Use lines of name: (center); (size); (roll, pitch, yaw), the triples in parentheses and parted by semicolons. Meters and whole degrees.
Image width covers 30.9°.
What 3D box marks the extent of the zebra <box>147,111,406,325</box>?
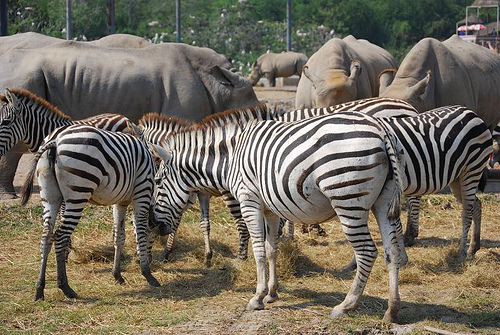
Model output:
zebra: (0.591, 1.295, 14.558); (4.922, 4.172, 3.074); (2, 9, 15)

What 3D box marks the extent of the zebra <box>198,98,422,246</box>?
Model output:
zebra: (0.685, 0.440, 16.919); (5.124, 2.866, 1.654); (4, 29, 24)

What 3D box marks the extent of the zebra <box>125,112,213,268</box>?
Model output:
zebra: (-2.401, 0.356, 16.533); (1.597, 2.756, 3.631); (2, -2, 0)

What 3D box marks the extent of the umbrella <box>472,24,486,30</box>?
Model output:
umbrella: (11.607, -7.234, 46.031); (0.475, 0.385, 2.612); (2, 5, 17)

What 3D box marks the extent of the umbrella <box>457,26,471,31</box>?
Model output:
umbrella: (11.503, -7.612, 49.108); (0.716, 0.289, 0.836); (0, 1, 14)
